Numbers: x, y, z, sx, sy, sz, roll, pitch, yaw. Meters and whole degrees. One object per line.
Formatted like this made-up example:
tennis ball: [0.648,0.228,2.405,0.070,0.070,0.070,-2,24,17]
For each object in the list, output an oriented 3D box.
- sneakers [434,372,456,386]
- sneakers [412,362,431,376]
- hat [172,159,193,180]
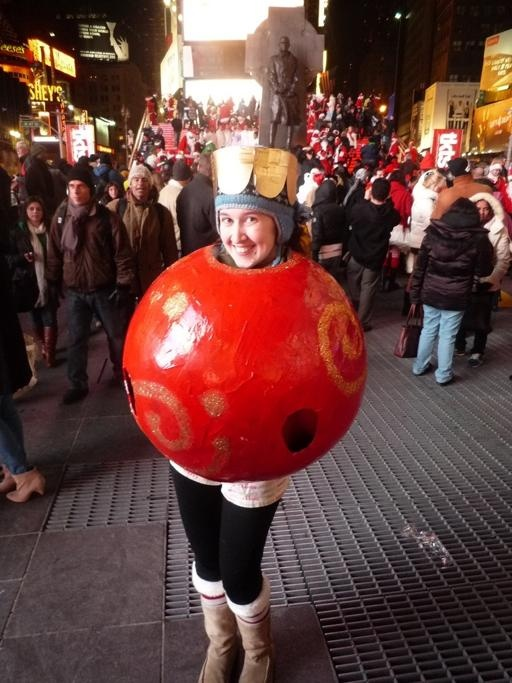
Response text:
sneakers: [1.753,0.342,4.288,0.221,0.098,0.081,-13,32,-37]
sneakers: [1.656,0.265,4.538,0.249,0.109,0.087,-19,39,-41]
hat: [-0.859,-1.958,5.263,0.204,0.183,0.276,0,55,-6]
